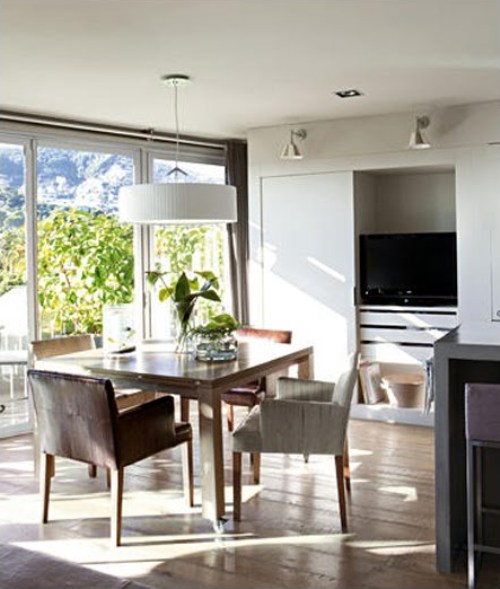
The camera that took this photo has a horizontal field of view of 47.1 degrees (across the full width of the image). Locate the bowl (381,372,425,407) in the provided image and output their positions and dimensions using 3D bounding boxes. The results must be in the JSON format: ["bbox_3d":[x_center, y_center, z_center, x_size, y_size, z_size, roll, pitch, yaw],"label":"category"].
[{"bbox_3d":[1.228,0.739,4.543,0.268,0.147,0.262,0,-3,0],"label":"bowl"}]

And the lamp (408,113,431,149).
[{"bbox_3d":[1.243,-1.196,4.193,0.141,0.310,0.393,-1,1,18],"label":"lamp"}]

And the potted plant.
[{"bbox_3d":[-0.441,0.114,4.059,0.521,0.623,0.672,-5,-2,30],"label":"potted plant"}]

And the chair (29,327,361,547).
[{"bbox_3d":[-0.221,0.610,3.069,1.541,0.708,0.847,2,3,30],"label":"chair"}]

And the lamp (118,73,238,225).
[{"bbox_3d":[-0.410,-0.815,3.156,0.669,0.711,0.667,12,19,34],"label":"lamp"}]

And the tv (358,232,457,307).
[{"bbox_3d":[1.335,-0.235,4.865,0.778,0.508,0.400,0,-1,12],"label":"tv"}]
